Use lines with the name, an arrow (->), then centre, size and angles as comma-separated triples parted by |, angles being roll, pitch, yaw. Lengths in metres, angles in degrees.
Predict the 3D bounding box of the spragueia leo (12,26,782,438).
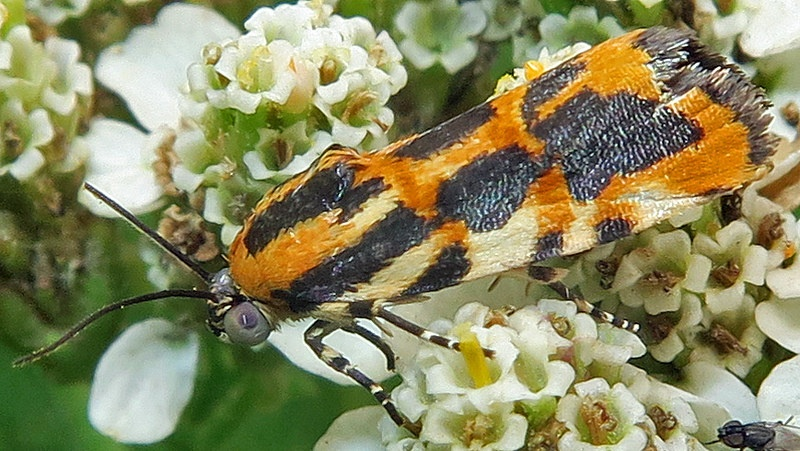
spragueia leo -> -0.013, 0.008, 1.999 | 1.370, 0.285, 0.640 | -20, 45, -9
